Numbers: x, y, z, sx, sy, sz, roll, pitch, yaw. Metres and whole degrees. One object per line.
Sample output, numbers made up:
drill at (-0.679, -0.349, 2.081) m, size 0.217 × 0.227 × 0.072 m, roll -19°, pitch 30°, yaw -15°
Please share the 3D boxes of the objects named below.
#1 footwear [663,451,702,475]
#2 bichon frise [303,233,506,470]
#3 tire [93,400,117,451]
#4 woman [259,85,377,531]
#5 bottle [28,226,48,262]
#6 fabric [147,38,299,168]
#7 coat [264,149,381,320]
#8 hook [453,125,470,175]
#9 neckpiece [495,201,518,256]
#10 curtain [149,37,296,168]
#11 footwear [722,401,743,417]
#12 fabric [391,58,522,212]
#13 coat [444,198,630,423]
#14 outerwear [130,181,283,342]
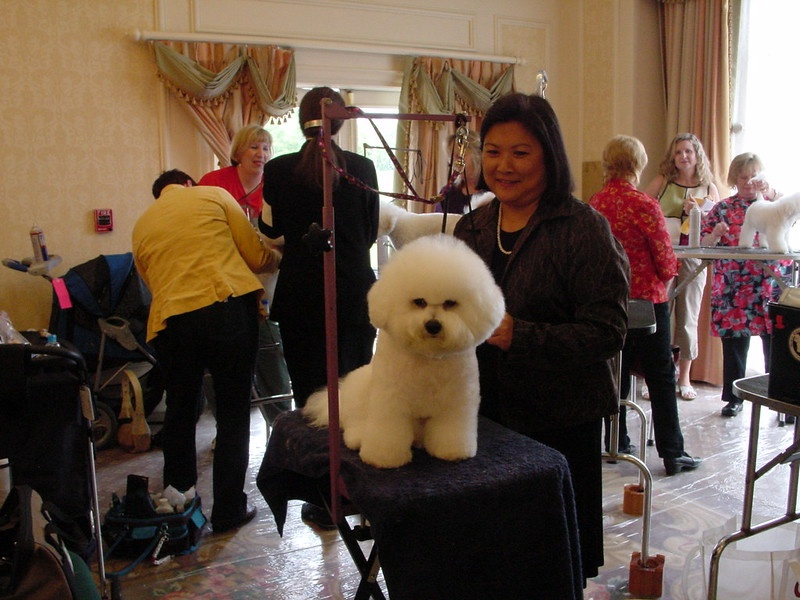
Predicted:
footwear at (1.663, 0.969, 4.052) m, size 0.266 × 0.118 × 0.096 m, roll -6°, pitch 7°, yaw -30°
bichon frise at (-0.006, 0.162, 2.326) m, size 0.454 × 0.703 × 0.757 m, roll -2°, pitch 7°, yaw -40°
tire at (-1.906, 0.802, 4.476) m, size 0.108 × 0.349 × 0.162 m, roll 4°, pitch 11°, yaw 40°
woman at (-0.394, -0.046, 3.404) m, size 0.558 × 1.887 × 0.539 m, roll 0°, pitch 21°, yaw -2°
bottle at (-2.389, -0.370, 4.568) m, size 0.085 × 0.231 × 0.265 m, roll -7°, pitch 9°, yaw -27°
fabric at (-1.334, -1.464, 5.497) m, size 1.145 × 1.110 × 0.143 m, roll -9°, pitch 25°, yaw -32°
coat at (-0.335, -0.320, 3.268) m, size 0.504 × 0.691 × 0.469 m, roll -11°, pitch 20°, yaw -17°
hook at (0.195, -0.475, 2.153) m, size 0.041 × 0.143 × 0.027 m, roll 8°, pitch 3°, yaw -19°
neckpiece at (0.389, -0.253, 2.472) m, size 0.109 × 0.186 × 0.034 m, roll 1°, pitch -15°, yaw 8°
curtain at (-1.333, -1.462, 5.488) m, size 1.133 × 1.092 × 0.136 m, roll -9°, pitch 23°, yaw -31°
footwear at (2.390, 0.768, 4.908) m, size 0.192 × 0.080 × 0.067 m, roll -11°, pitch 11°, yaw -37°
fabric at (0.564, -1.370, 6.429) m, size 1.117 × 1.957 × 0.155 m, roll 3°, pitch 48°, yaw 10°
coat at (0.475, 0.042, 2.550) m, size 0.551 × 0.805 × 0.770 m, roll -14°, pitch 13°, yaw -42°
outerwear at (-1.006, -0.256, 3.484) m, size 0.697 × 0.840 × 0.565 m, roll -18°, pitch -15°, yaw -3°
